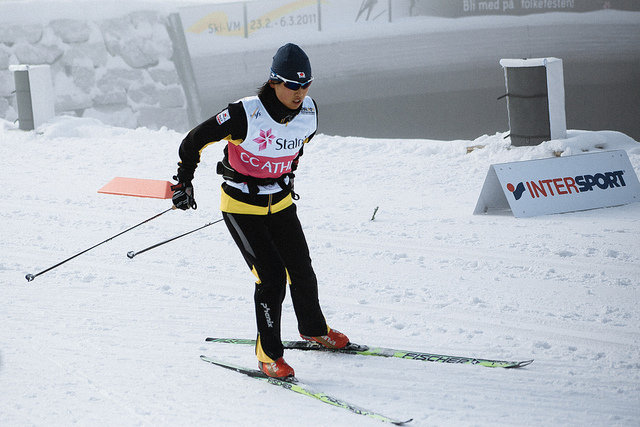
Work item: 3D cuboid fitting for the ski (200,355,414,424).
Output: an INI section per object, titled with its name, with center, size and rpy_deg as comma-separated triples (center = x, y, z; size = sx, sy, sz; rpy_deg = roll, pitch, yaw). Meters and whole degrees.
[ski]
center = -0.136, 2.013, 9.403
size = 1.931, 0.147, 0.131
rpy_deg = 16, 35, 16
